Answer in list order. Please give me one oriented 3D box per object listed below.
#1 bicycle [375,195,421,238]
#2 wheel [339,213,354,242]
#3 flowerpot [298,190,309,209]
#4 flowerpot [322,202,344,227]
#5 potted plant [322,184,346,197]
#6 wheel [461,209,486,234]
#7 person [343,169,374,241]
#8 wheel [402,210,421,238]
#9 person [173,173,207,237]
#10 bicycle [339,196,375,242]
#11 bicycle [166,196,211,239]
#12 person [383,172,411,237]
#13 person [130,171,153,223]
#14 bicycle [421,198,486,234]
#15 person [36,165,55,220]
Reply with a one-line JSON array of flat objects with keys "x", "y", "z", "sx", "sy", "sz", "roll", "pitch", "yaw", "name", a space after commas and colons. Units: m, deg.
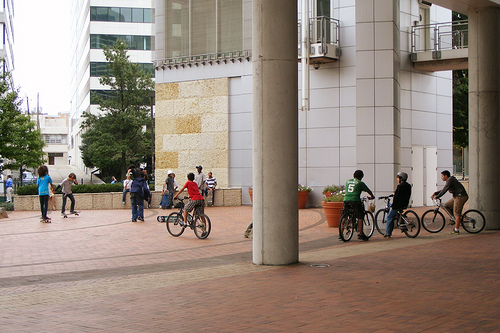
[{"x": 5.041, "y": 1.698, "z": 17.169, "sx": 1.112, "sy": 1.343, "sz": 2.198, "roll": -2, "pitch": -1, "yaw": -27, "name": "bicycle"}, {"x": 3.094, "y": 1.920, "z": 16.014, "sx": 0.637, "sy": 0.894, "sz": 0.141, "roll": -4, "pitch": 2, "yaw": -43, "name": "wheel"}, {"x": 3.045, "y": 1.841, "z": 28.643, "sx": 0.368, "sy": 1.034, "sz": 0.823, "roll": -2, "pitch": 2, "yaw": 30, "name": "flowerpot"}, {"x": 3.349, "y": 1.860, "z": 19.834, "sx": 0.869, "sy": 0.695, "sz": 0.852, "roll": -2, "pitch": -5, "yaw": 25, "name": "flowerpot"}, {"x": 3.668, "y": 1.042, "z": 21.711, "sx": 0.888, "sy": 0.317, "sz": 0.851, "roll": 0, "pitch": 1, "yaw": -24, "name": "potted plant"}, {"x": 7.860, "y": 1.815, "z": 17.776, "sx": 0.766, "sy": 0.806, "sz": 0.752, "roll": 2, "pitch": 23, "yaw": -1, "name": "wheel"}, {"x": 3.512, "y": 1.257, "z": 16.254, "sx": 0.887, "sy": 2.254, "sz": 0.551, "roll": -4, "pitch": 2, "yaw": -24, "name": "person"}, {"x": 5.430, "y": 1.902, "z": 16.809, "sx": 0.533, "sy": 0.862, "sz": 0.414, "roll": -2, "pitch": 2, "yaw": 21, "name": "wheel"}, {"x": -2.332, "y": 1.161, "z": 17.328, "sx": 1.240, "sy": 2.039, "sz": 1.108, "roll": 4, "pitch": -1, "yaw": -41, "name": "person"}, {"x": 3.524, "y": 1.693, "z": 16.528, "sx": 1.073, "sy": 1.505, "sz": 2.317, "roll": -5, "pitch": -6, "yaw": 39, "name": "bicycle"}, {"x": -2.140, "y": 1.716, "z": 17.188, "sx": 2.247, "sy": 1.394, "sz": 0.982, "roll": -3, "pitch": -5, "yaw": 42, "name": "bicycle"}, {"x": 4.968, "y": 1.259, "z": 16.923, "sx": 0.884, "sy": 2.137, "sz": 0.948, "roll": -2, "pitch": 2, "yaw": 16, "name": "person"}, {"x": -5.052, "y": 1.295, "z": 22.272, "sx": 1.008, "sy": 2.233, "sz": 0.896, "roll": -4, "pitch": -14, "yaw": 23, "name": "person"}, {"x": 7.207, "y": 1.738, "z": 18.046, "sx": 2.253, "sy": 1.397, "sz": 1.099, "roll": -1, "pitch": -1, "yaw": 8, "name": "bicycle"}, {"x": -9.309, "y": 1.171, "z": 22.810, "sx": 0.871, "sy": 2.533, "sz": 0.744, "roll": 1, "pitch": -3, "yaw": -44, "name": "person"}]
